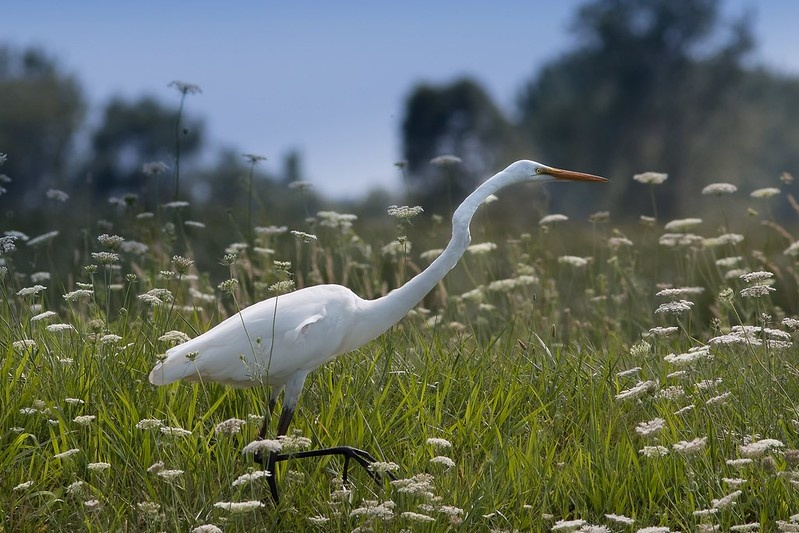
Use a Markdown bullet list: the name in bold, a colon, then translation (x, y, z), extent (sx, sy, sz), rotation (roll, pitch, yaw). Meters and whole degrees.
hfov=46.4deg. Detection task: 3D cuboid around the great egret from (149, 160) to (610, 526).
- **great egret**: translation (-0.314, 0.559, 7.662), extent (3.455, 2.903, 0.873), rotation (-1, 22, -8)
